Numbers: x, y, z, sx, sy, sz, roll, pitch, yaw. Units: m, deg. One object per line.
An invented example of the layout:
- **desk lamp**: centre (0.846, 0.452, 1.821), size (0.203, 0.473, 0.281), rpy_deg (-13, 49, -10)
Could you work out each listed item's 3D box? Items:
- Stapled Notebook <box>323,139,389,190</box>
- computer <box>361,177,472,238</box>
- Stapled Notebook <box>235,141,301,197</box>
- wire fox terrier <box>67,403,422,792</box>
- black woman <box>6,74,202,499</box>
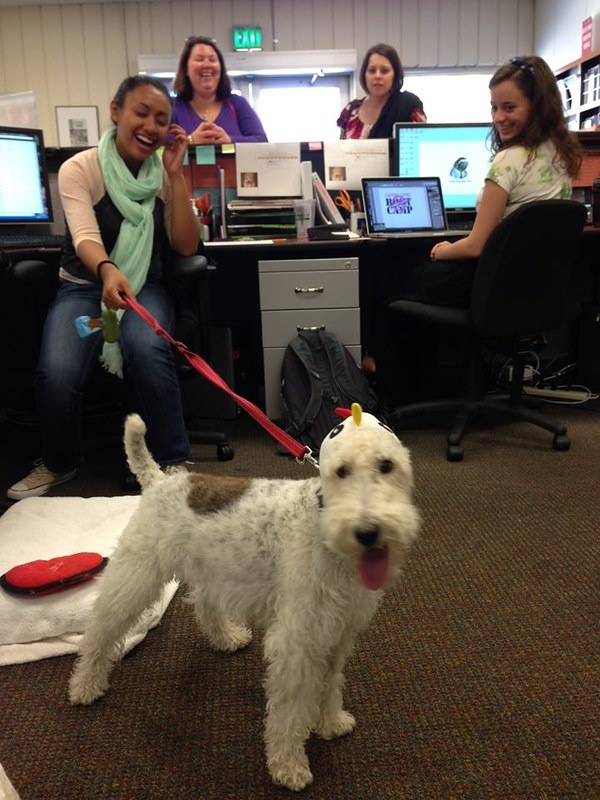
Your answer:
- **Stapled Notebook**: centre (0.260, -1.111, 2.887), size (0.343, 0.230, 0.043), rpy_deg (-1, 13, -3)
- **computer**: centre (0.487, -0.801, 2.567), size (0.472, 0.273, 0.331), rpy_deg (-3, -6, -8)
- **Stapled Notebook**: centre (-0.150, -1.069, 2.869), size (0.292, 0.256, 0.087), rpy_deg (0, 17, -8)
- **wire fox terrier**: centre (-0.059, 0.227, 0.854), size (0.520, 0.470, 0.261), rpy_deg (5, 11, 33)
- **black woman**: centre (-0.654, -0.288, 1.982), size (0.615, 1.297, 0.593), rpy_deg (3, 14, 15)
